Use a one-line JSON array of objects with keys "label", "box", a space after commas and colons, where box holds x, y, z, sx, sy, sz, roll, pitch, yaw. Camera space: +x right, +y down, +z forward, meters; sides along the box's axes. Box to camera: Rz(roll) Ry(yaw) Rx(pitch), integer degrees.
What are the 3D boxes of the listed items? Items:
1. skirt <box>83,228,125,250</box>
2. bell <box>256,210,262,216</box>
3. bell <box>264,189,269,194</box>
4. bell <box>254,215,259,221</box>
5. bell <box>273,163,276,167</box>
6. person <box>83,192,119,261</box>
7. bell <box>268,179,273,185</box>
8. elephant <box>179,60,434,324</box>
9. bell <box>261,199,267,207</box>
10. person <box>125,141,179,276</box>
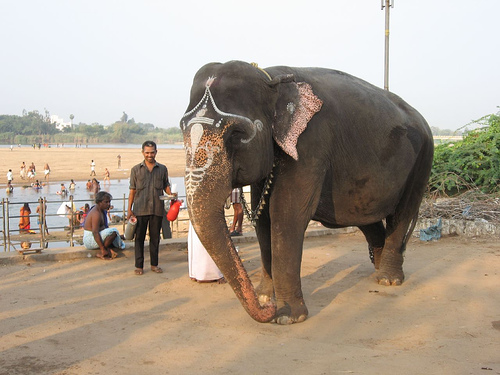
[{"label": "skirt", "box": [-2.562, 0.881, 8.406, 0.487, 0.282, 0.414, -5, 0, -14]}, {"label": "bell", "box": [0.095, 0.284, 5.511, 0.067, 0.064, 0.102, -1, -5, -1]}, {"label": "bell", "box": [0.176, 0.033, 5.356, 0.040, 0.041, 0.097, -1, -10, 8]}, {"label": "bell", "box": [0.081, 0.335, 5.538, 0.030, 0.048, 0.021, 20, 53, 28]}, {"label": "bell", "box": [0.265, -0.257, 5.314, 0.035, 0.053, 0.099, 2, 6, 10]}, {"label": "person", "box": [-2.599, 0.636, 8.492, 0.603, 1.135, 0.640, -1, 8, -24]}, {"label": "bell", "box": [0.222, -0.072, 5.336, 0.033, 0.056, 0.070, 4, 9, 35]}, {"label": "elephant", "box": [0.917, -0.004, 6.101, 3.522, 2.877, 1.398, -2, 5, -31]}, {"label": "bell", "box": [0.154, 0.162, 5.488, 0.072, 0.071, 0.144, 4, -4, 4]}, {"label": "person", "box": [-1.530, 0.292, 7.522, 0.658, 2.022, 0.576, -3, 8, -15]}]
